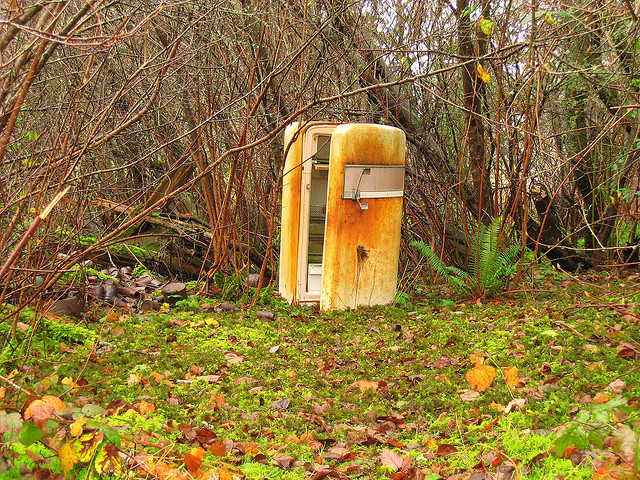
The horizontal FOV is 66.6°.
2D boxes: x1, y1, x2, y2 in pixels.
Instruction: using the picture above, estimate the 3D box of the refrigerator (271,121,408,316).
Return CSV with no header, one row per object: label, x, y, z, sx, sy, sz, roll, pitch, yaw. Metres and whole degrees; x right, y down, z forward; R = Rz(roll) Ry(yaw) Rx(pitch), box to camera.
refrigerator,0.122,-0.294,6.680,1.321,2.355,1.893,3,-1,-24
